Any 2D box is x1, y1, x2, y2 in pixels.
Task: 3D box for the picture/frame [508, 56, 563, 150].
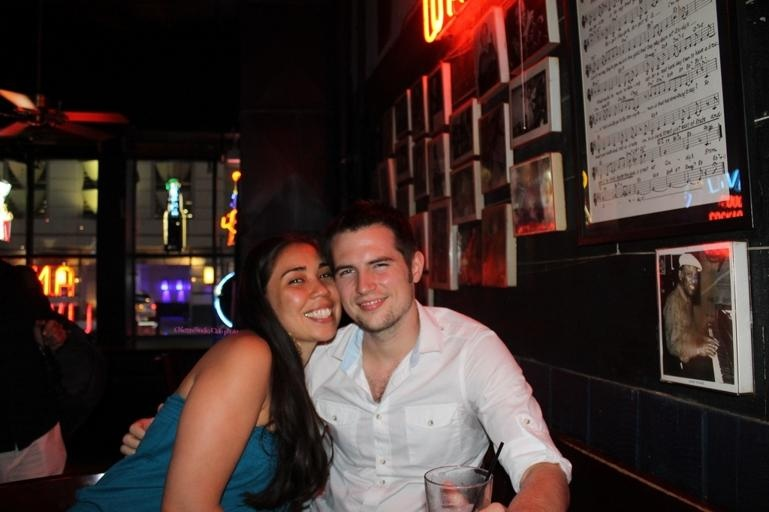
[{"bbox_3d":[0.867,-0.867,3.411,0.066,0.473,0.469,3,-15,-25],"label":"picture/frame"}]
